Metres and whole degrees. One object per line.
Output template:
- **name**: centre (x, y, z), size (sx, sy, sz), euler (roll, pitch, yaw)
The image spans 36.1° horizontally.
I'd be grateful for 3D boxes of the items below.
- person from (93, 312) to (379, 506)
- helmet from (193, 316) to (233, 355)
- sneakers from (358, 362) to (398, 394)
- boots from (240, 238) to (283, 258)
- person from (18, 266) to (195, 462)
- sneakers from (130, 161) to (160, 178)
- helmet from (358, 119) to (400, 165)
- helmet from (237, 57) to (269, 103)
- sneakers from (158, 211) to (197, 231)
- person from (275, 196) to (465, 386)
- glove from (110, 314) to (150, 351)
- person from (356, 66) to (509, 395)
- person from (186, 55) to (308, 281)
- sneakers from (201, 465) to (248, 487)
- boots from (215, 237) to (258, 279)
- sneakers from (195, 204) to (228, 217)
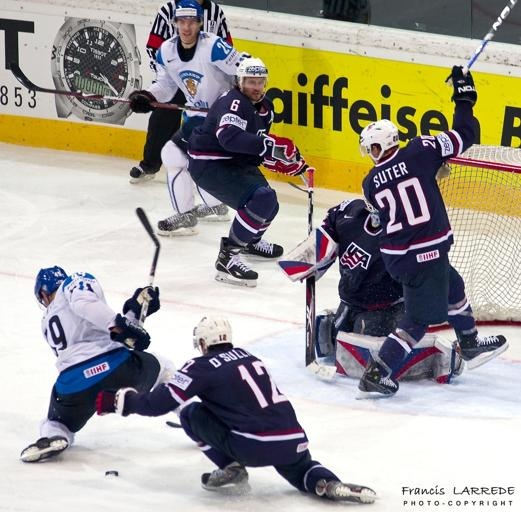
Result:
- **person**: centre (-0.022, 0.504, 2.749), size (0.851, 0.520, 0.515), euler (3, 0, 39)
- **helmet**: centre (-0.154, 0.279, 2.780), size (0.141, 0.131, 0.149), euler (-9, -2, -19)
- **sneakers**: centre (0.539, 0.525, 3.500), size (0.182, 0.151, 0.103), euler (15, 2, -1)
- **boots**: centre (0.035, -0.055, 5.683), size (0.338, 0.126, 0.112), euler (0, 13, 3)
- **person**: centre (-0.753, 0.371, 3.204), size (0.577, 0.498, 0.738), euler (47, 15, 6)
- **sneakers**: centre (-1.043, -0.768, 7.146), size (0.337, 0.126, 0.115), euler (-3, -2, -30)
- **helmet**: centre (0.523, -0.497, 3.570), size (0.199, 0.165, 0.151), euler (-15, 5, 25)
- **helmet**: centre (-0.073, -1.105, 4.969), size (0.222, 0.237, 0.267), euler (-6, 20, -26)
- **sneakers**: centre (-0.620, -0.276, 6.067), size (0.374, 0.143, 0.114), euler (-9, 11, -10)
- **person**: centre (0.563, 0.102, 3.864), size (0.890, 0.828, 0.704), euler (7, 12, 40)
- **glove**: centre (-0.531, 0.285, 3.061), size (0.164, 0.063, 0.124), euler (27, 11, 24)
- **person**: centre (0.725, -0.120, 3.567), size (0.737, 1.440, 0.424), euler (-8, 16, -30)
- **person**: centre (-0.061, -0.561, 5.340), size (0.935, 1.375, 0.916), euler (0, 14, -5)
- **sneakers**: centre (-0.115, 0.735, 2.648), size (0.144, 0.076, 0.067), euler (0, -2, 1)
- **boots**: centre (-0.138, 0.048, 5.201), size (0.359, 0.264, 0.120), euler (13, 16, 42)
- **sneakers**: centre (-0.387, -0.357, 6.350), size (0.278, 0.103, 0.089), euler (-4, 20, -13)
